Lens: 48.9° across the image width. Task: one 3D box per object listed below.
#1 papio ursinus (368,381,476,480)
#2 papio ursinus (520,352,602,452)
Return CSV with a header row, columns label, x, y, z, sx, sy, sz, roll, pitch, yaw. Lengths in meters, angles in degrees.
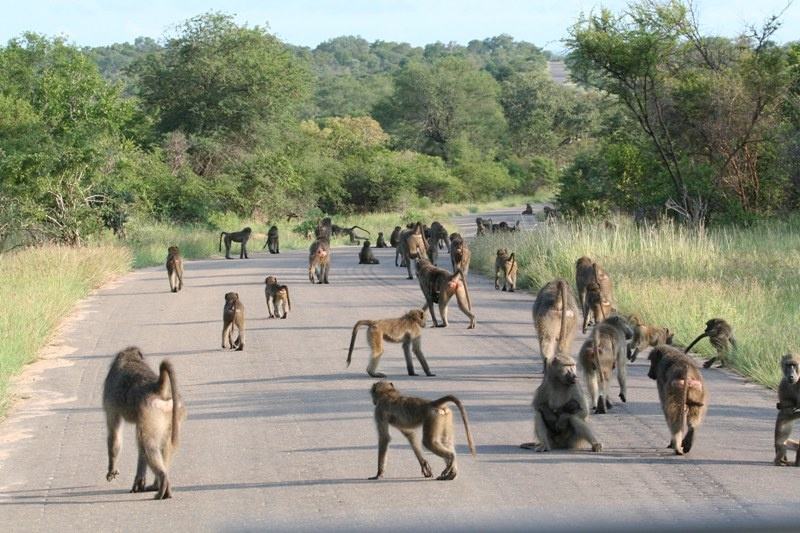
label,x,y,z,sx,sy,sz,roll,pitch,yaw
papio ursinus,0.238,2.364,12.523,1.951,1.339,0.614,-4,-3,41
papio ursinus,2.388,2.151,13.533,1.100,1.489,1.728,2,-4,-13
